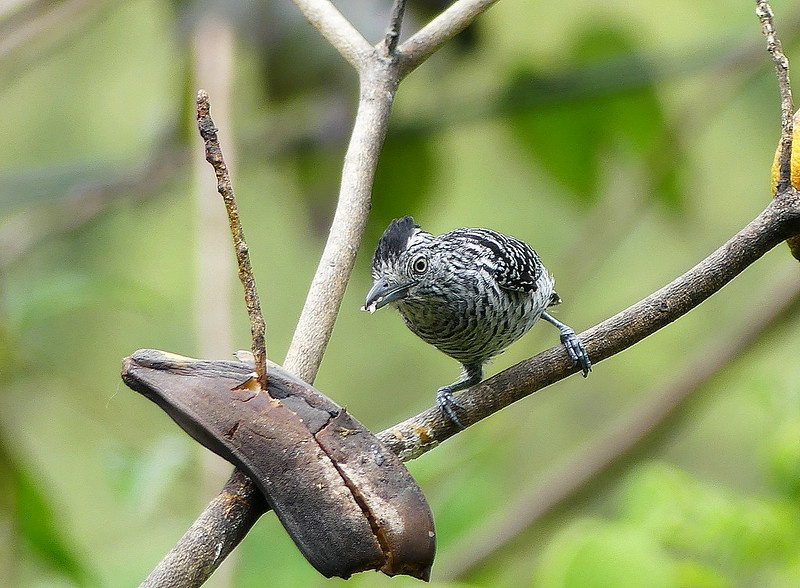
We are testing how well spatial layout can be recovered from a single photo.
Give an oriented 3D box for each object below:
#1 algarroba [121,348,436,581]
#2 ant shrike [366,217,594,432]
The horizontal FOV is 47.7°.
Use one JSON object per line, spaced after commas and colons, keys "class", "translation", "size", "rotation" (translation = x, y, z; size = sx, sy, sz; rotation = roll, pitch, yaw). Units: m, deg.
{"class": "algarroba", "translation": [-0.194, 0.271, 1.560], "size": [0.615, 0.240, 0.211], "rotation": [34, -70, -18]}
{"class": "ant shrike", "translation": [0.168, -0.027, 2.313], "size": [0.356, 0.548, 0.621], "rotation": [-8, -76, -22]}
